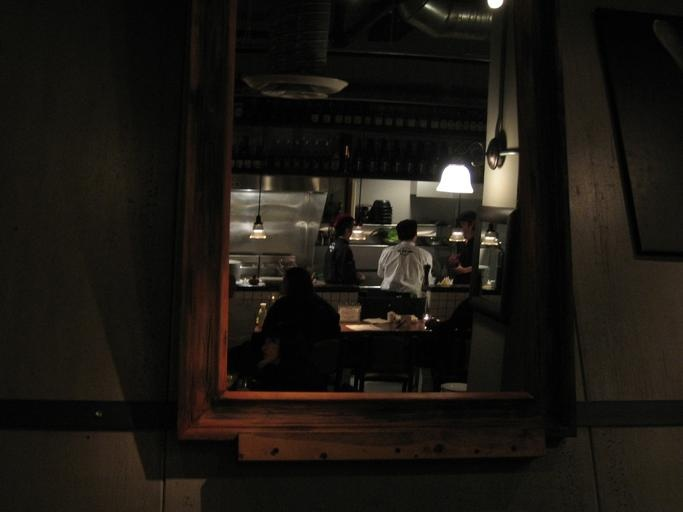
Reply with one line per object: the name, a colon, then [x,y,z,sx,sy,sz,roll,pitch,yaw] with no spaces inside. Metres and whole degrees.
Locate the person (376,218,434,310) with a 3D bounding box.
person: [0.591,0.156,5.953,0.507,0.932,0.501,2,11,-3]

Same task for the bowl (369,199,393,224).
bowl: [0.477,-0.526,7.827,0.186,0.319,0.316,1,4,-14]
